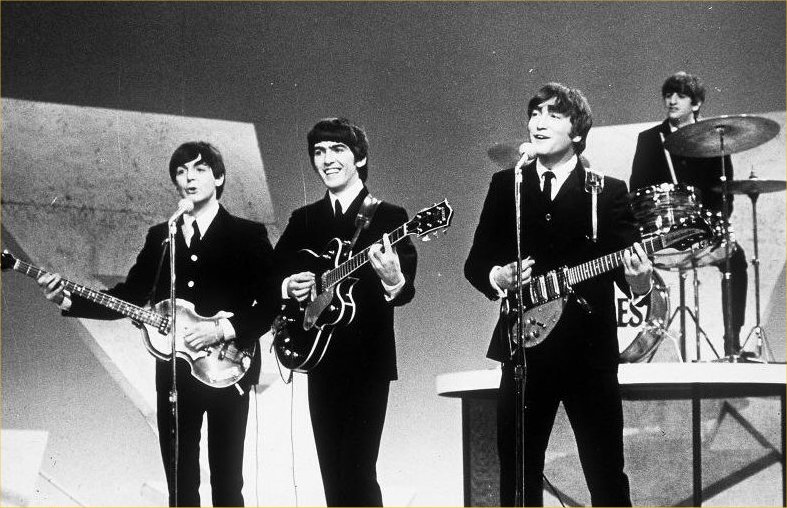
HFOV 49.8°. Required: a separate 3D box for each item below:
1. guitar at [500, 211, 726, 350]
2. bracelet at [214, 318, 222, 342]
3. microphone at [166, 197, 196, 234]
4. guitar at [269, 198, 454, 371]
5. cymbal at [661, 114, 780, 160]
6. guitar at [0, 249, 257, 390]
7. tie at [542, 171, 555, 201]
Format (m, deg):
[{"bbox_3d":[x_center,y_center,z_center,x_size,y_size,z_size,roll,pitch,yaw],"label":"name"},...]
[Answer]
[{"bbox_3d":[1.443,0.175,5.414,1.316,0.852,0.393,-32,-11,9],"label":"guitar"},{"bbox_3d":[-1.222,0.528,5.927,0.053,0.150,0.022,-2,-2,-6],"label":"bracelet"},{"bbox_3d":[-1.478,-0.286,5.858,0.125,0.119,0.388,19,39,7],"label":"microphone"},{"bbox_3d":[-0.364,0.240,5.731,1.570,0.765,0.188,-41,-27,26],"label":"guitar"},{"bbox_3d":[2.183,-0.801,5.671,0.424,0.102,0.426,12,-37,-12],"label":"cymbal"},{"bbox_3d":[-1.992,0.398,6.263,2.326,0.768,0.239,20,6,17],"label":"guitar"},{"bbox_3d":[1.037,-0.476,5.800,0.087,0.173,0.029,0,-10,16],"label":"tie"}]
